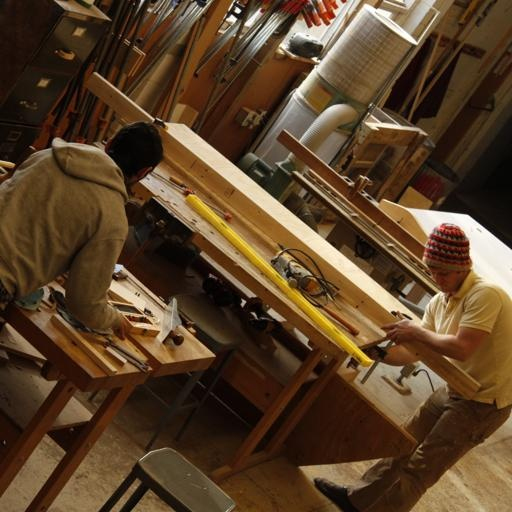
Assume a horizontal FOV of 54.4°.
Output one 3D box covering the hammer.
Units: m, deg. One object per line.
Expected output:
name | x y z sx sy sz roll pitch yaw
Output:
hammer | 0.415 0.298 3.088 0.550 0.098 0.219 33 9 3
